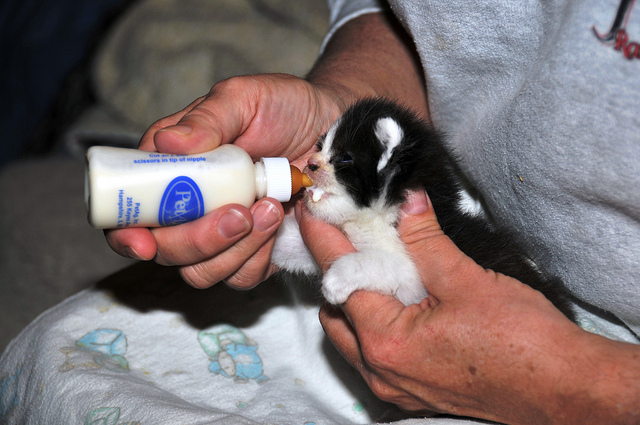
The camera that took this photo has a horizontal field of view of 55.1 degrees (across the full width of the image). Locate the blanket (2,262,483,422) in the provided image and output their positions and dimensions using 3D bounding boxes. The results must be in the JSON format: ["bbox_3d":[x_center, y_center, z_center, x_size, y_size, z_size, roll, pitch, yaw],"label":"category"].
[{"bbox_3d":[-0.471,0.532,2.318,1.107,0.859,0.361,3,90,18],"label":"blanket"}]
